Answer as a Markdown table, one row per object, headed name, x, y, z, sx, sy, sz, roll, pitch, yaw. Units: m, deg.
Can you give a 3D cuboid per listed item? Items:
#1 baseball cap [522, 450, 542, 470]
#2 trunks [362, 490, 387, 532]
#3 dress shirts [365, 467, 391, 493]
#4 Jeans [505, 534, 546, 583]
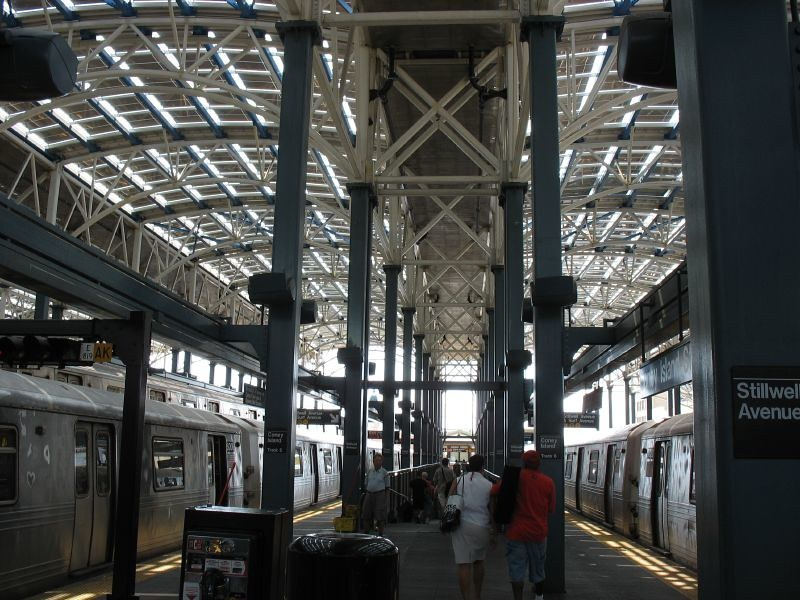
| name | x | y | z | sx | sy | sz | roll | pitch | yaw |
| --- | --- | --- | --- | --- | --- | --- | --- | --- | --- |
| baseball cap | 1.576 | 1.891 | 8.394 | 0.178 | 0.167 | 0.261 | 3 | 21 | 1 |
| trunks | -0.565 | 4.550 | 15.220 | 0.472 | 1.208 | 0.321 | 2 | 0 | 4 |
| dress shirts | -0.439 | 3.932 | 15.271 | 0.620 | 0.735 | 0.419 | 0 | -25 | 5 |
| Jeans | 1.472 | 3.069 | 8.158 | 0.442 | 0.508 | 0.391 | -4 | -16 | 7 |
